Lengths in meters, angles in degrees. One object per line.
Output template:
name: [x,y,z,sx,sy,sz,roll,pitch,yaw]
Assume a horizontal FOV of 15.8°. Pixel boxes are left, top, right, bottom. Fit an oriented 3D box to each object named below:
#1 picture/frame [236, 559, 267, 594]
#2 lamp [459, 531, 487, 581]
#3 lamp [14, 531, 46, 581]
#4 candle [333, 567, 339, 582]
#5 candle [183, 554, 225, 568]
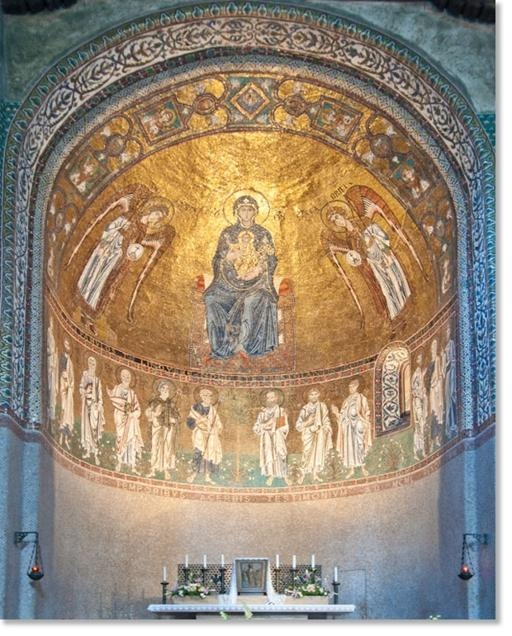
picture/frame: [-0.041,2.834,19.947,0.357,0.400,0.040,0,-22,-3]
lamp: [2.221,2.484,19.125,0.203,0.490,0.443,8,-24,-25]
lamp: [-2.266,2.417,18.725,0.136,0.488,0.479,-15,-25,28]
candle: [0.909,2.908,20.745,0.070,0.197,0.130,-3,-22,2]
candle: [-0.558,2.781,20.917,0.518,0.181,0.185,8,-24,-24]
